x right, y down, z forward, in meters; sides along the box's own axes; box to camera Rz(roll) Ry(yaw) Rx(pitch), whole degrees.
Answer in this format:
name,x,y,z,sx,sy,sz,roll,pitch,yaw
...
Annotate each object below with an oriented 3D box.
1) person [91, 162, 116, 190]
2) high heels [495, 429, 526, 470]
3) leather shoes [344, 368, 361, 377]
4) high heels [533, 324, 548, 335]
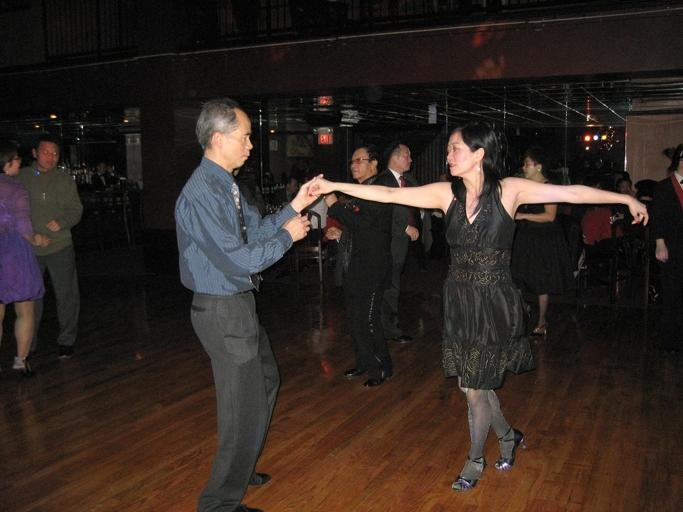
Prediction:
name,x,y,z,sx,sy,sz,roll,pitch,yaw
person,-5.775,-1.960,12.387,0.317,0.676,0.752,1,10,10
high heels,1.034,1.195,3.136,0.121,0.263,0.088,37,-16,-10
leather shoes,0.102,1.047,4.592,0.142,0.061,0.071,3,5,-5
high heels,2.185,0.810,5.602,0.121,0.161,0.097,-3,0,9
